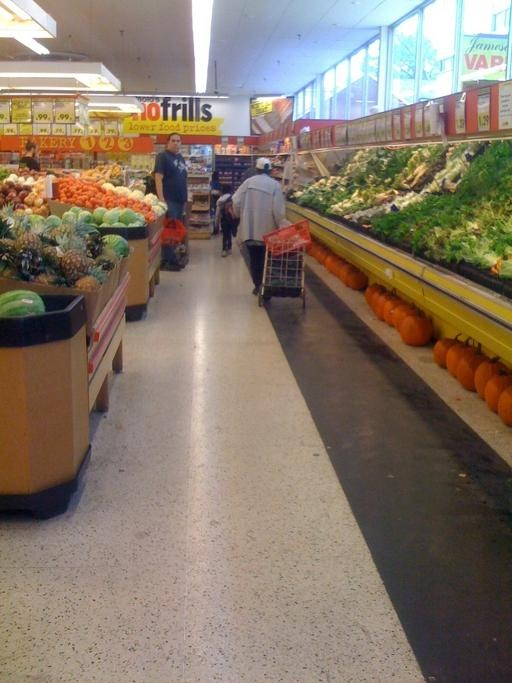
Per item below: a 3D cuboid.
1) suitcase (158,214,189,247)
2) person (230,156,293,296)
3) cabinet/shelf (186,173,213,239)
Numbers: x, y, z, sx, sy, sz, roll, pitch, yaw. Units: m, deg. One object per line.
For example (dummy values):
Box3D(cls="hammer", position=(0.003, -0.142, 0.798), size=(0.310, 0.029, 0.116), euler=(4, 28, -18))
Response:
Box3D(cls="suitcase", position=(-1.129, -1.554, 6.929), size=(0.438, 0.455, 0.289), euler=(2, 5, 7))
Box3D(cls="person", position=(0.098, -1.385, 5.863), size=(0.680, 1.496, 0.495), euler=(12, 22, 26))
Box3D(cls="cabinet/shelf", position=(-1.279, -3.134, 11.413), size=(0.490, 1.479, 0.449), euler=(-2, 13, -7))
